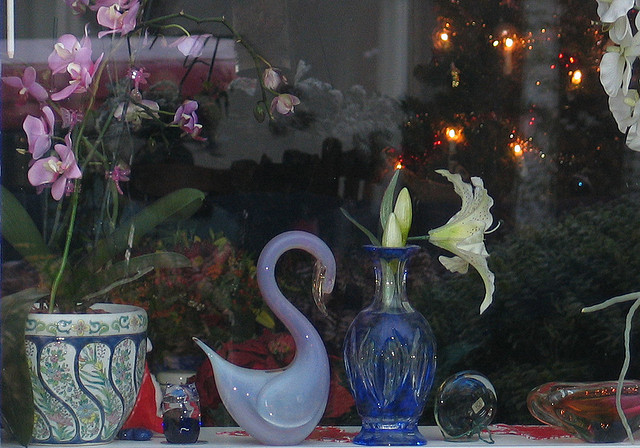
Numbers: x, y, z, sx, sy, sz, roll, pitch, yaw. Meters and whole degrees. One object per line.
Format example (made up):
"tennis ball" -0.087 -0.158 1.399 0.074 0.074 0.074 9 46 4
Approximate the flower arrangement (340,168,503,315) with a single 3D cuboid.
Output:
"flower arrangement" 0.165 0.005 2.478 0.244 0.242 0.230 1 13 -3

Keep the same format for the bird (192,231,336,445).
"bird" -0.102 0.200 2.463 0.252 0.372 0.116 0 -2 -8

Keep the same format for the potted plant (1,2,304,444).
"potted plant" -0.342 -0.019 2.477 0.511 0.801 0.325 0 -2 -3

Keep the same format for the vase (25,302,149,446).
"vase" -0.410 0.261 2.384 0.185 0.189 0.200 6 -9 -41

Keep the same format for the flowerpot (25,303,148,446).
"flowerpot" -0.409 0.259 2.383 0.193 0.190 0.192 -1 -3 25

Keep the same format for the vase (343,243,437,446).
"vase" 0.118 0.212 2.469 0.160 0.348 0.084 -1 -2 13
